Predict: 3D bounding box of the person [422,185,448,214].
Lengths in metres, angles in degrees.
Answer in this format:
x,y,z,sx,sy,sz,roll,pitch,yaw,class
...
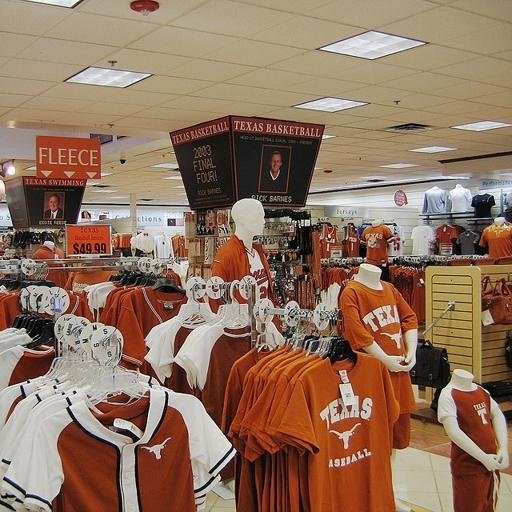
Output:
x,y,z,sx,sy,sz,roll,pitch,yaw,class
6.166,-1.850,14.006,0.812,0.884,0.377,-1,3,25,person

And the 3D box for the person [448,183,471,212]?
x,y,z,sx,sy,sz,roll,pitch,yaw,class
6.784,-1.870,13.523,0.658,0.915,0.419,-1,3,25,person

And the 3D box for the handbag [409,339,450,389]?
x,y,z,sx,sy,sz,roll,pitch,yaw,class
1.791,1.112,4.247,0.206,0.427,0.440,2,-6,-29,handbag
